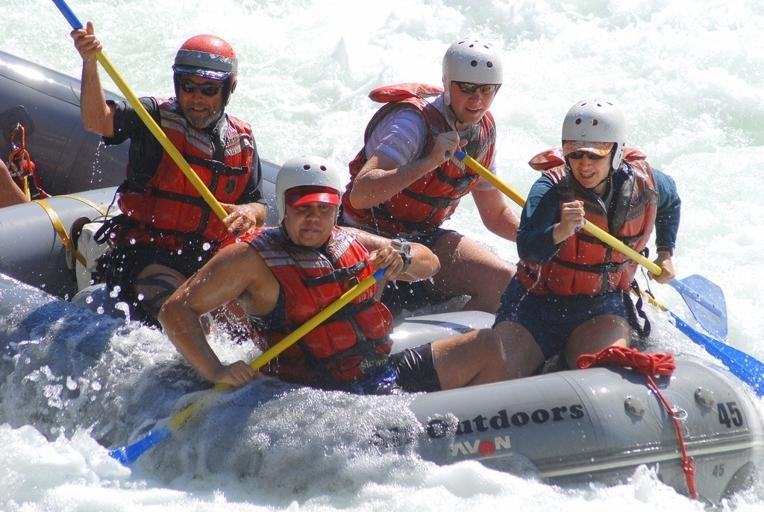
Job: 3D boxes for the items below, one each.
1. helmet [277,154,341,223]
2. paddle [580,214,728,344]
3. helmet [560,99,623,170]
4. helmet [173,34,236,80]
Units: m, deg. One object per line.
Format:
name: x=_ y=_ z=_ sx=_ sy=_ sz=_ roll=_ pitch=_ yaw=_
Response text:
helmet: x=-0.451 y=-0.397 z=5.116 sx=0.299 sy=0.301 sz=0.398 roll=-2 pitch=5 yaw=-24
paddle: x=1.725 y=0.051 z=5.923 sx=1.660 sy=0.077 sz=0.584 roll=30 pitch=39 yaw=-19
helmet: x=1.318 y=-0.738 z=5.527 sx=0.312 sy=0.409 sz=0.361 roll=4 pitch=69 yaw=17
helmet: x=-1.114 y=-1.259 z=5.630 sx=0.277 sy=0.271 sz=0.359 roll=14 pitch=15 yaw=40
